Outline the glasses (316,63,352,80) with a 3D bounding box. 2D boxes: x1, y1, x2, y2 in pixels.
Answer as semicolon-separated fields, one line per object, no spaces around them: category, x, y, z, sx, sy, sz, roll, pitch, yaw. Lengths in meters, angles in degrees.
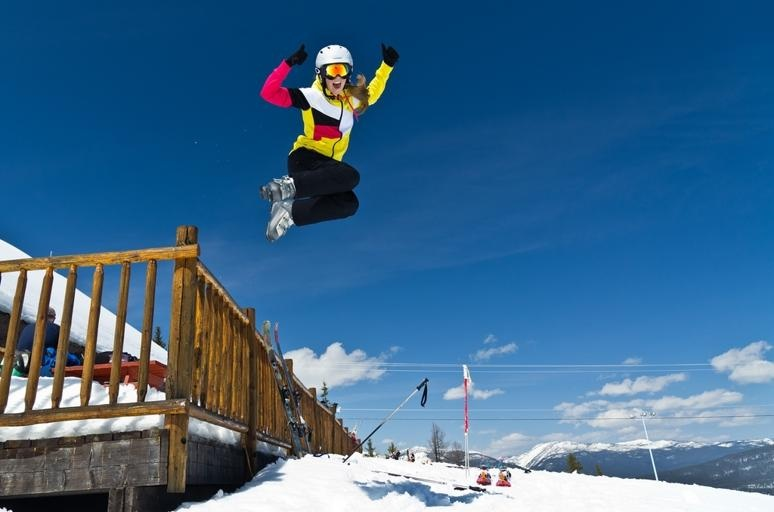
glasses;-0.677;-2.417;7.089;0.431;0.203;0.157;-6;-26;-6
